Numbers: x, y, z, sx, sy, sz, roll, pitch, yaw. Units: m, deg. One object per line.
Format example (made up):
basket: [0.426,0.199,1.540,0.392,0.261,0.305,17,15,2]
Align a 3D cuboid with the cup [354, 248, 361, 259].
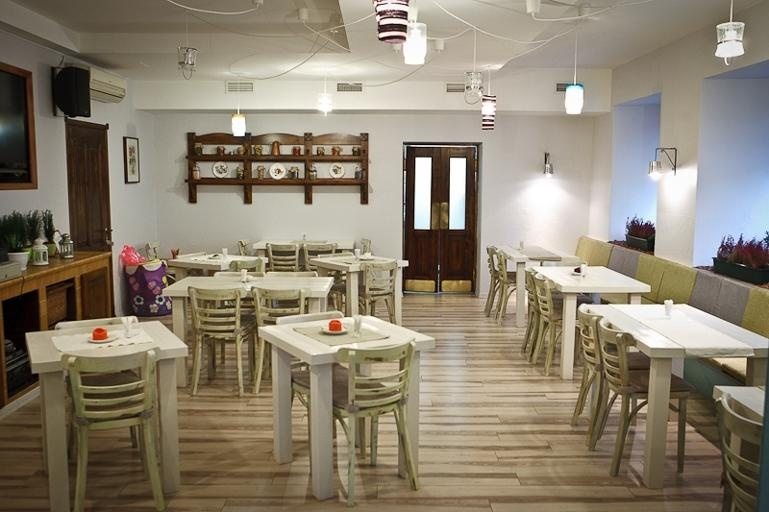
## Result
cup: [-0.410,-0.038,8.196,0.118,0.150,0.118,-1,7,0]

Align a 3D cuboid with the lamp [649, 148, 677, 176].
lamp: [3.872,-1.338,7.884,0.337,0.404,0.445,1,14,2]

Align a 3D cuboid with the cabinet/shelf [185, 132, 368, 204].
cabinet/shelf: [-1.941,-1.572,10.178,3.319,1.334,0.343,0,13,-4]

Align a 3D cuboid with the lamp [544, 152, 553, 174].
lamp: [3.006,-1.703,10.224,0.165,0.374,0.226,3,14,10]

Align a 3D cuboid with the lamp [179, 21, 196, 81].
lamp: [-2.336,-2.442,6.541,0.218,0.702,0.214,-1,3,-32]
